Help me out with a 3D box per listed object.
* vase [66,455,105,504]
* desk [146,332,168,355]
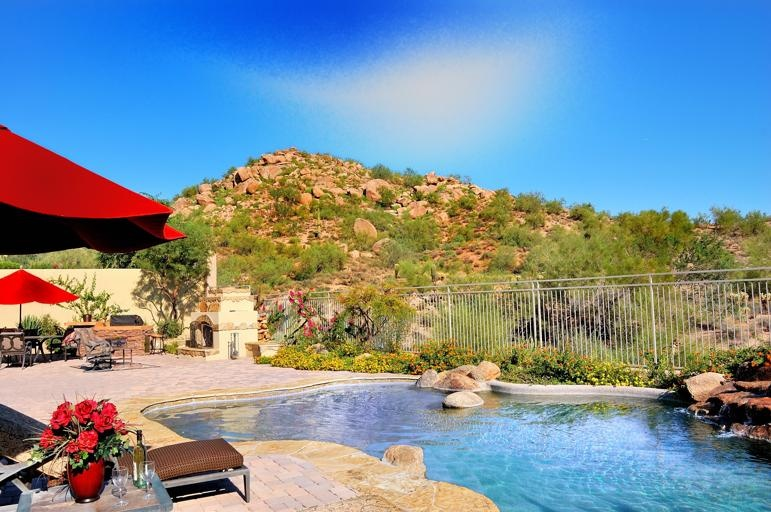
[{"bbox_3d":[-5.174,4.017,10.227,0.664,0.787,0.677,-1,-19,-14],"label":"vase"},{"bbox_3d":[-10.428,4.028,25.769,0.948,1.183,0.916,0,-7,-8],"label":"desk"}]
